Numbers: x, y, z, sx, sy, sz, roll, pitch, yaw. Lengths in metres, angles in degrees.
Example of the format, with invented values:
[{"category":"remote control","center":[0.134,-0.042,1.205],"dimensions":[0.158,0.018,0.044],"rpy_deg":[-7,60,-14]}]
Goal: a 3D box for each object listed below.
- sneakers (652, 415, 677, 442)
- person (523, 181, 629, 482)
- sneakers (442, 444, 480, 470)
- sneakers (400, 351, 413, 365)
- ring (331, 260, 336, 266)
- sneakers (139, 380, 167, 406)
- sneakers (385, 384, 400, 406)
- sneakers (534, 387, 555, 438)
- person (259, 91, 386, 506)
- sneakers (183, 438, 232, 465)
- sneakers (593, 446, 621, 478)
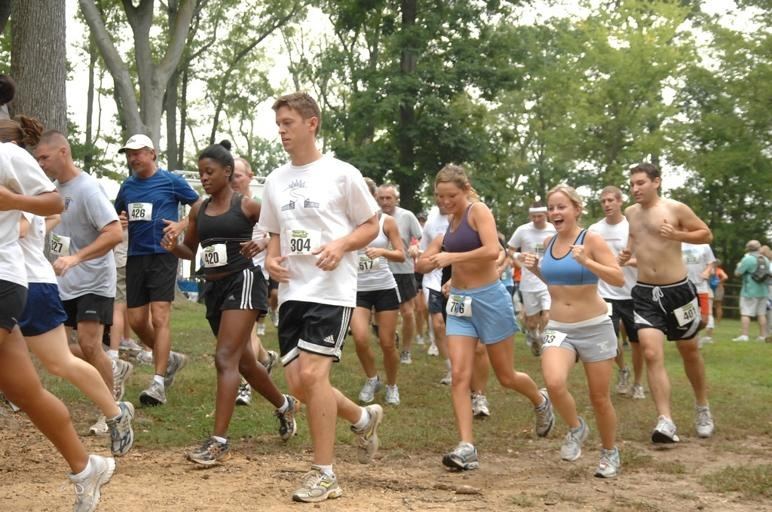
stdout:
[{"category":"sneakers","center":[3.262,2.052,9.889],"dimensions":[0.312,0.332,0.233],"rpy_deg":[-1,-1,9]},{"category":"person","center":[2.079,0.772,9.119],"dimensions":[0.922,3.129,0.740],"rpy_deg":[-1,-1,9]},{"category":"sneakers","center":[0.835,2.145,8.958],"dimensions":[0.441,0.243,0.221],"rpy_deg":[9,-16,-39]},{"category":"sneakers","center":[0.328,1.701,13.958],"dimensions":[0.201,0.187,0.469],"rpy_deg":[-1,-5,3]},{"category":"ring","center":[-0.498,0.069,8.027],"dimensions":[0.038,0.043,0.044],"rpy_deg":[3,14,7]},{"category":"sneakers","center":[-2.837,1.724,10.423],"dimensions":[0.193,0.196,0.411],"rpy_deg":[0,-14,9]},{"category":"sneakers","center":[0.088,1.905,11.590],"dimensions":[0.198,0.273,0.326],"rpy_deg":[-1,-1,0]},{"category":"sneakers","center":[1.797,1.777,9.691],"dimensions":[0.213,0.270,0.590],"rpy_deg":[-31,25,32]},{"category":"person","center":[-0.658,0.367,8.282],"dimensions":[1.150,3.940,0.649],"rpy_deg":[-1,-1,0]},{"category":"sneakers","center":[-1.813,2.039,8.811],"dimensions":[0.576,0.267,0.220],"rpy_deg":[8,0,-44]},{"category":"sneakers","center":[2.315,2.194,8.881],"dimensions":[0.174,0.162,0.420],"rpy_deg":[-6,-8,24]}]
